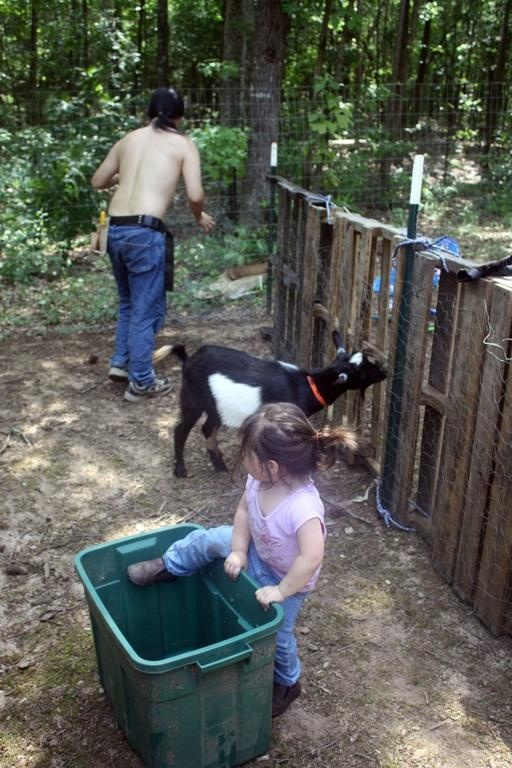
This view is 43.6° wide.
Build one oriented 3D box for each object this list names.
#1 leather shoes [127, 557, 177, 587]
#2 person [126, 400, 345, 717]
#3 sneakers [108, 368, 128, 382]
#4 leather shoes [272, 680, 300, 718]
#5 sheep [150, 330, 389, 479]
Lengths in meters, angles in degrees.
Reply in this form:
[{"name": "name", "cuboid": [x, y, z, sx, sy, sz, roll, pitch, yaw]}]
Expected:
[{"name": "leather shoes", "cuboid": [-0.368, 0.640, 2.164, 0.187, 0.068, 0.132, 0, -13, -23]}, {"name": "person", "cuboid": [-0.076, 0.511, 2.083, 0.724, 1.085, 0.367, 11, 34, 15]}, {"name": "sneakers", "cuboid": [-1.079, -0.076, 4.999, 0.078, 0.084, 0.182, 3, -24, 1]}, {"name": "leather shoes", "cuboid": [0.096, 1.069, 2.187, 0.057, 0.072, 0.167, 0, 1, 35]}, {"name": "sheep", "cuboid": [0.029, 0.164, 3.688, 1.295, 0.893, 0.447, 7, 24, 7]}]
